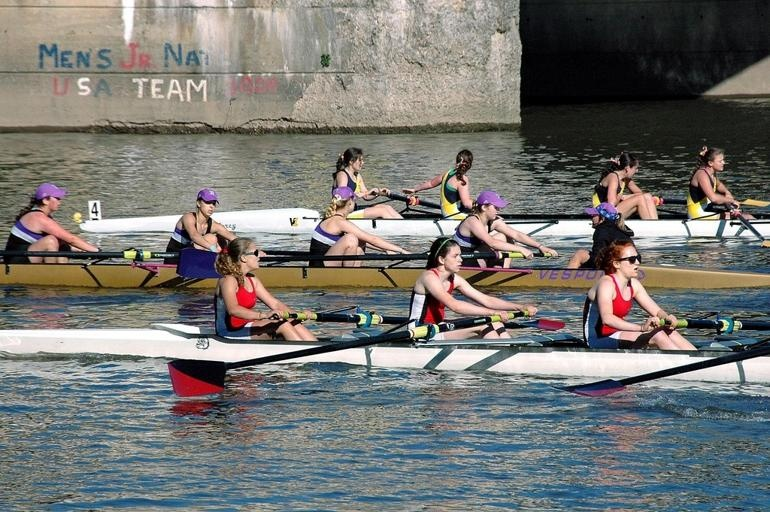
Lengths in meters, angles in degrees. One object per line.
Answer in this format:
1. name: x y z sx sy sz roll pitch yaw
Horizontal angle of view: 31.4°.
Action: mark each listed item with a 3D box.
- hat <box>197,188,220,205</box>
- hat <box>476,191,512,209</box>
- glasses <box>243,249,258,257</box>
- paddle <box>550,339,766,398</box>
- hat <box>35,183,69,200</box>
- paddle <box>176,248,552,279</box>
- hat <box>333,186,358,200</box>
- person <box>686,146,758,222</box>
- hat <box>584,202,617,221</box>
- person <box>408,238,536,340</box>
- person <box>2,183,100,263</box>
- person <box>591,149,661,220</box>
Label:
1. hat: -2.773 -0.926 21.374 0.382 0.184 0.441 6 2 -30
2. hat: 1.686 -0.879 21.339 0.540 0.139 0.275 4 13 1
3. glasses: -1.796 -0.034 18.246 0.139 0.029 0.120 -16 -1 22
4. paddle: 3.634 1.504 17.945 3.424 0.265 0.219 -9 10 -3
5. hat: -5.235 -1.010 21.359 0.648 0.247 0.362 -2 10 -2
6. paddle: -0.420 0.124 20.757 4.919 0.349 0.447 1 5 -3
7. hat: -0.665 -0.984 21.574 0.341 0.199 0.212 0 7 9
8. person: 5.848 -1.271 24.159 1.154 1.245 0.747 1 9 22
9. hat: 3.371 -0.709 21.436 0.550 0.145 0.309 12 10 20
10. person: 1.283 0.585 18.523 2.047 1.144 0.791 6 14 5
11. person: -5.334 -0.503 21.433 1.265 1.246 0.579 -3 8 -12
12. person: 4.303 -1.081 23.721 1.637 1.081 0.684 5 19 26
